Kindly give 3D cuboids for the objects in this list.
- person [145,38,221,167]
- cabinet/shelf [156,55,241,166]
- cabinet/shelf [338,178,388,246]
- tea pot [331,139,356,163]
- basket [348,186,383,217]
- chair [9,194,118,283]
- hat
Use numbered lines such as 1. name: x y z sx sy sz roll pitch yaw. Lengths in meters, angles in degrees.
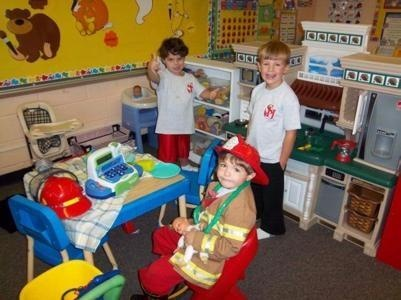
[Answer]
1. person: -0.233 -0.413 3.114 0.743 1.435 0.604 -9 21 -26
2. cabinet/shelf: -0.026 -0.430 3.082 0.336 1.004 1.050 -15 28 -32
3. cabinet/shelf: 1.428 0.564 2.572 0.410 0.487 0.375 -11 23 -27
4. tea pot: 1.211 0.000 2.542 0.197 0.181 0.191 -2 19 1
5. basket: 1.395 0.430 2.507 0.246 0.189 0.206 19 33 32
6. chair: -0.837 0.544 1.806 0.385 0.671 0.422 23 40 26
7. hat: 0.290 0.073 1.758 0.322 0.147 0.229 39 -4 -19
